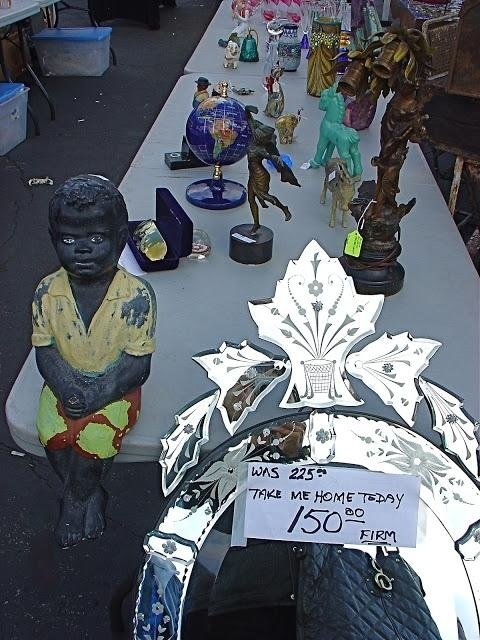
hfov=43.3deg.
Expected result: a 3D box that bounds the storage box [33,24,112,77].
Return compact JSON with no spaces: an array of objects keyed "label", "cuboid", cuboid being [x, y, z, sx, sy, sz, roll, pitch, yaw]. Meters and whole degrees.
[{"label":"storage box","cuboid":[-1.355,-2.221,4.978,0.605,0.290,0.395,0,41,0]}]
